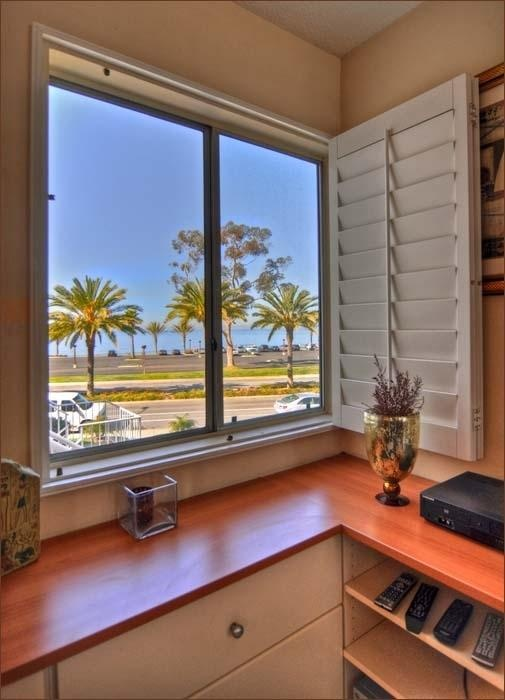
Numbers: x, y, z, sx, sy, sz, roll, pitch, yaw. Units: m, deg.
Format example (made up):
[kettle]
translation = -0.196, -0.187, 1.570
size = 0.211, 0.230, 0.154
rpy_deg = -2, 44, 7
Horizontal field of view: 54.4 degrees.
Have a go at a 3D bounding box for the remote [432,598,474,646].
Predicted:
[remote]
translation = 0.450, 0.598, 1.083
size = 0.052, 0.031, 0.124
rpy_deg = 1, 18, 46
